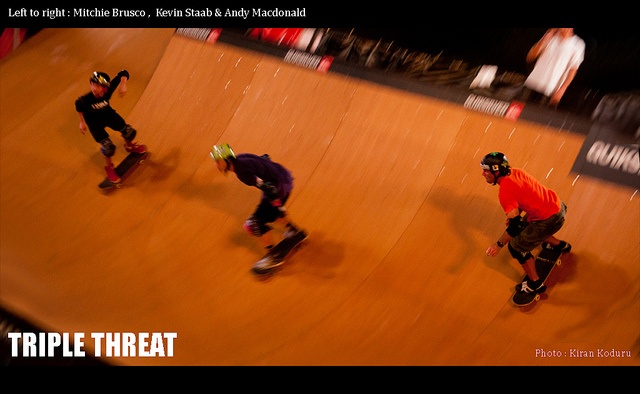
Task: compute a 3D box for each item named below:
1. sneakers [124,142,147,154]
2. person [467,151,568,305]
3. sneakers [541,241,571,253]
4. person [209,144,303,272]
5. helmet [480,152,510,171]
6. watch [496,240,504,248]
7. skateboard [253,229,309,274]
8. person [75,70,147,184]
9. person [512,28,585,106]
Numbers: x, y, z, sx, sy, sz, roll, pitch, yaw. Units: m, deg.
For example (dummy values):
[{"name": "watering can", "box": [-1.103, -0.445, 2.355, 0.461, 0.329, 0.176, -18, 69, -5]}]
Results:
[{"name": "sneakers", "box": [-2.372, -0.633, 5.572, 0.319, 0.111, 0.211, 0, -17, -7]}, {"name": "person", "box": [2.211, 0.407, 4.812, 0.739, 0.990, 1.355, -17, -58, 40]}, {"name": "sneakers", "box": [2.664, 0.562, 4.905, 0.301, 0.118, 0.140, 1, -11, 28]}, {"name": "person", "box": [-0.766, 0.187, 5.043, 1.304, 0.802, 0.668, 57, 2, -36]}, {"name": "helmet", "box": [1.830, -0.365, 4.578, 0.237, 0.182, 0.183, 24, 40, 23]}, {"name": "watch", "box": [1.919, 0.493, 4.683, 0.067, 0.047, 0.087, 20, 15, -31]}, {"name": "skateboard", "box": [-0.379, 0.638, 5.162, 0.267, 0.800, 0.336, 56, -12, -20]}, {"name": "person", "box": [-2.596, -0.899, 5.354, 0.832, 1.324, 0.443, 16, 14, -23]}, {"name": "person", "box": [2.926, -1.740, 5.423, 0.538, 1.195, 0.375, 19, -8, 27]}]
